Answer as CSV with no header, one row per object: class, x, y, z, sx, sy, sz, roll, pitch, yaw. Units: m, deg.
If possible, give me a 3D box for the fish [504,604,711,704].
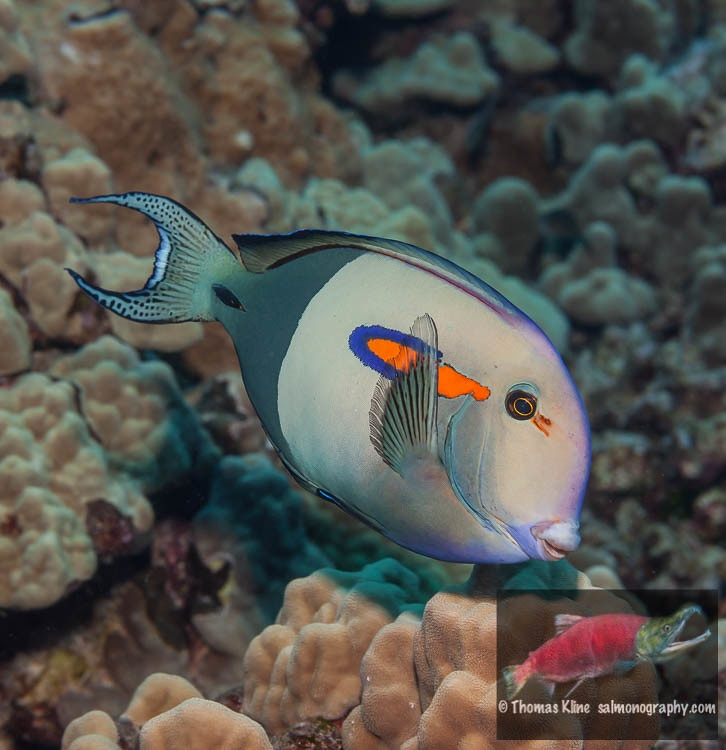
fish,0.646,0.760,2.878,0.635,0.141,0.206,-24,60,35
